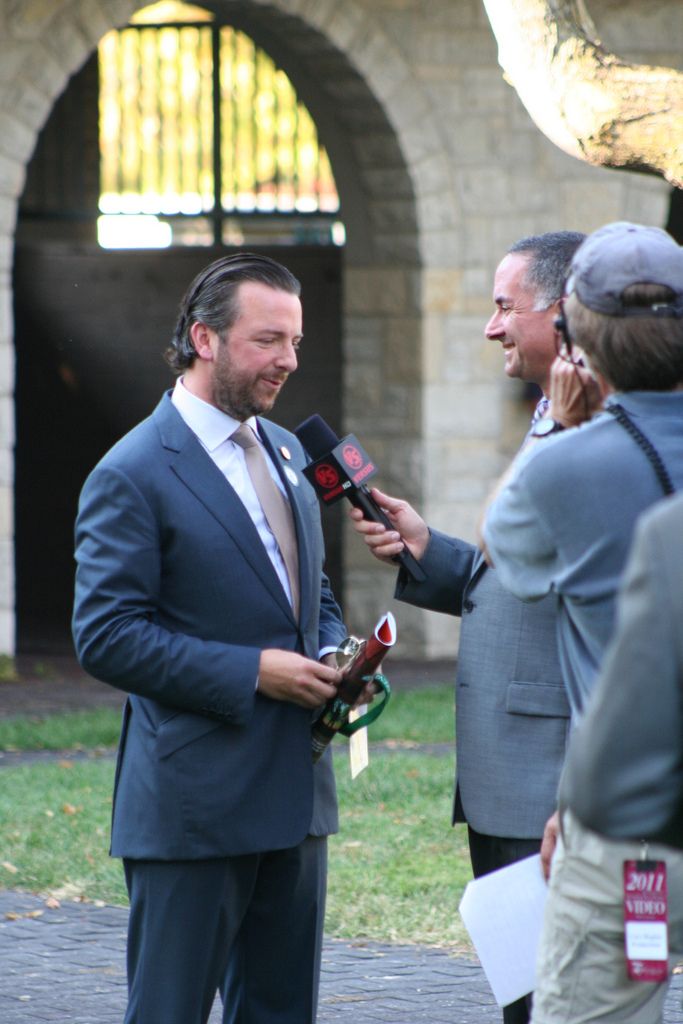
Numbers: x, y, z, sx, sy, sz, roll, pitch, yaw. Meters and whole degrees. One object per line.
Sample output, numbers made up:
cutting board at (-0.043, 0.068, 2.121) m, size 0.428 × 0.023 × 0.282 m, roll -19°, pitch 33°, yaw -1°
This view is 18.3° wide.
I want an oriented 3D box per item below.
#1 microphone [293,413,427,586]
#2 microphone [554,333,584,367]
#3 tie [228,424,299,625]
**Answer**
microphone at (0.043, -0.009, 4.959) m, size 0.073 × 0.353 × 0.093 m, roll -35°, pitch 7°, yaw 7°
microphone at (0.462, -0.325, 4.333) m, size 0.034 × 0.071 × 0.055 m, roll -25°, pitch -6°, yaw 13°
tie at (-0.158, 0.030, 4.840) m, size 0.167 × 0.410 × 0.170 m, roll -17°, pitch 20°, yaw -38°
